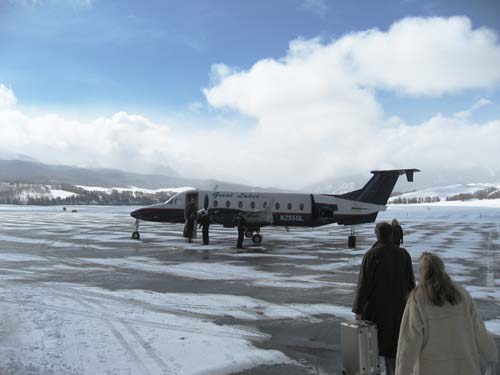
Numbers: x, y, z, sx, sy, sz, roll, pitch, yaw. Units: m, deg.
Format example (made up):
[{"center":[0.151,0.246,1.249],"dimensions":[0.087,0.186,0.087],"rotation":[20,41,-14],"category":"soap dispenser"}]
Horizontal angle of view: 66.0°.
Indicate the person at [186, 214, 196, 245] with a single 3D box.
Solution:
[{"center":[-3.613,2.438,23.387],"dimensions":[0.555,1.665,0.884],"rotation":[2,-2,5],"category":"person"}]
